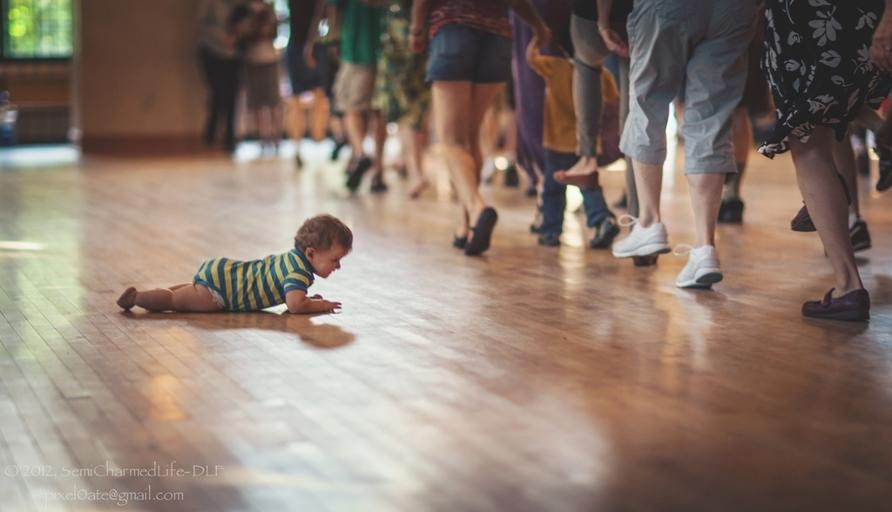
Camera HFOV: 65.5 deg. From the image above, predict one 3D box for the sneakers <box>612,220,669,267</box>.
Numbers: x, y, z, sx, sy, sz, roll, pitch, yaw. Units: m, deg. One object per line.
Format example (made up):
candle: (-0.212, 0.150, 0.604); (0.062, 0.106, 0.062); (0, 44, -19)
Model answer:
sneakers: (0.956, -0.051, 3.402); (0.147, 0.171, 0.348); (-5, 1, -29)

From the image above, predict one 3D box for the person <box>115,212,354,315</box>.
person: (-0.766, -0.012, 2.876); (1.011, 0.411, 0.386); (-2, 8, -12)

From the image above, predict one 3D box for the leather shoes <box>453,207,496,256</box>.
leather shoes: (0.149, -0.111, 3.686); (0.137, 0.126, 0.342); (26, -31, 7)

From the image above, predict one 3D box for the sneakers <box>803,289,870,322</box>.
sneakers: (1.561, 0.190, 2.806); (0.259, 0.110, 0.119); (3, 4, 39)
